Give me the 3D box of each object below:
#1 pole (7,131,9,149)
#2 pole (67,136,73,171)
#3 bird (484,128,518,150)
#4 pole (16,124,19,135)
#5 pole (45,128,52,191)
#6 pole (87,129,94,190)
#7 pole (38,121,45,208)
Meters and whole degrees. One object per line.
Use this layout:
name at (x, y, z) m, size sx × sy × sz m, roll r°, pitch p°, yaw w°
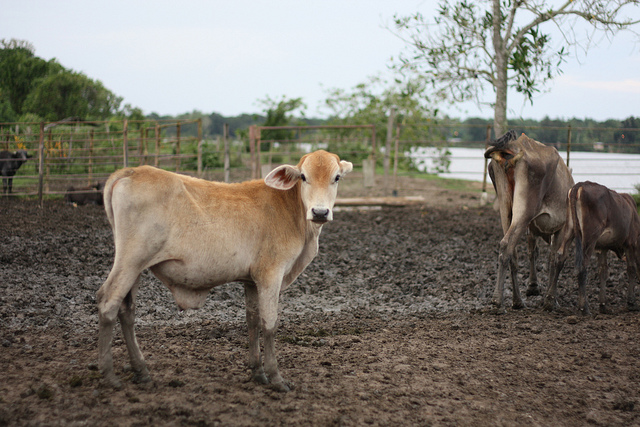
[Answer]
pole at (-5.665, -1.316, 15.336) m, size 0.025 × 0.317 × 0.044 m, roll -3°, pitch 7°, yaw -33°
pole at (-4.732, -1.118, 15.982) m, size 0.101 × 0.650 × 0.155 m, roll -1°, pitch 6°, yaw -18°
bird at (2.986, -1.182, 13.695) m, size 0.427 × 0.314 × 0.259 m, roll 3°, pitch 6°, yaw 16°
pole at (-5.498, -1.510, 15.344) m, size 0.046 × 0.181 × 0.029 m, roll -1°, pitch 6°, yaw -21°
pole at (-5.023, -0.986, 15.681) m, size 0.115 × 1.158 × 0.206 m, roll 2°, pitch 6°, yaw 7°
pole at (-4.395, -1.017, 16.175) m, size 0.129 × 1.145 × 0.272 m, roll -1°, pitch 6°, yaw -16°
pole at (-5.161, -0.905, 15.535) m, size 0.113 × 1.650 × 0.114 m, roll -2°, pitch -10°, yaw -4°
